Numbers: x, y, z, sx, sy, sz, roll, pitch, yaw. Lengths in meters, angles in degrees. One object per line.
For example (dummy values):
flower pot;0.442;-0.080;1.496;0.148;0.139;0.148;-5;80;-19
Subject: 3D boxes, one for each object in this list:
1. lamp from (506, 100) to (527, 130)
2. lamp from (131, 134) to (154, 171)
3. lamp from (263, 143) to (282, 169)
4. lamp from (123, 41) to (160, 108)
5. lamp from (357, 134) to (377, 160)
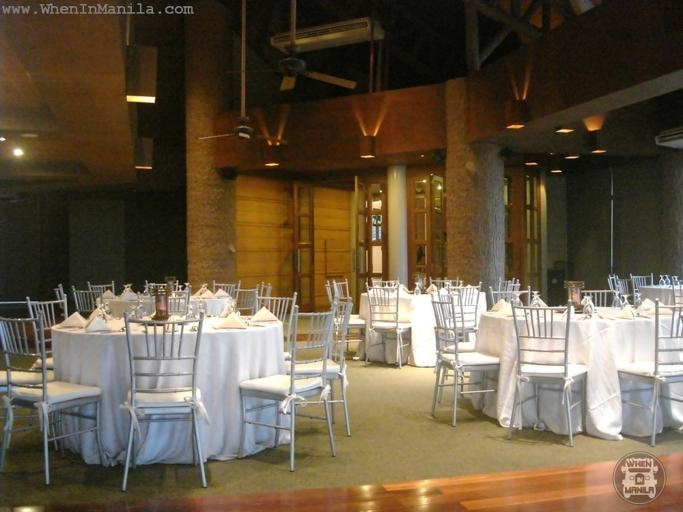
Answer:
lamp;2.419;-1.971;8.296;0.291;0.368;0.260;1;10;14
lamp;-3.346;-1.714;10.156;0.396;0.595;0.420;10;11;35
lamp;-1.280;-1.885;11.109;0.386;0.390;0.174;5;12;31
lamp;-2.526;-2.291;7.520;0.395;0.670;0.486;-5;10;-19
lamp;0.420;-1.888;10.310;0.283;0.365;0.237;7;12;38
